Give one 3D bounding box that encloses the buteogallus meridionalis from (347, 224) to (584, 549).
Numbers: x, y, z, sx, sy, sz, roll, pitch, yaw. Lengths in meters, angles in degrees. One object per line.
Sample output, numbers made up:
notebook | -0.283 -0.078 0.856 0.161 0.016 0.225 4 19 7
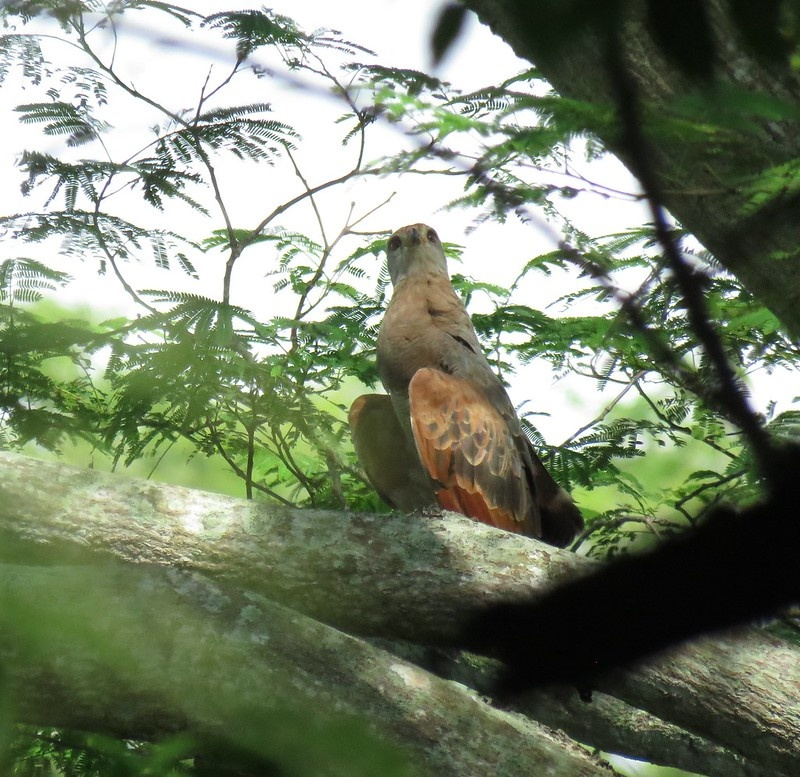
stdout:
buteogallus meridionalis | 0.159 -0.089 4.625 0.758 1.487 0.721 0 -25 -21
